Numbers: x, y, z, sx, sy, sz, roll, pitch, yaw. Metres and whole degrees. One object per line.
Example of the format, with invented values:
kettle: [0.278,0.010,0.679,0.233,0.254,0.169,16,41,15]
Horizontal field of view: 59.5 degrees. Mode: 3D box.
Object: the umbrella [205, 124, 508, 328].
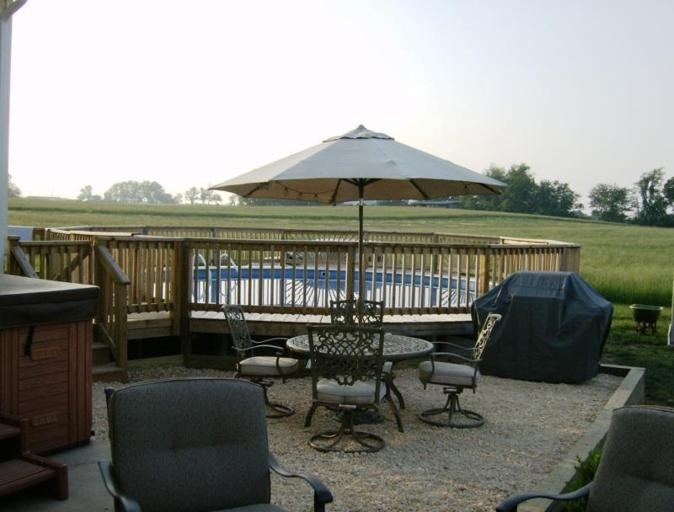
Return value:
umbrella: [0.264,-0.473,7.478,3.057,2.390,2.601,-1,7,-16]
